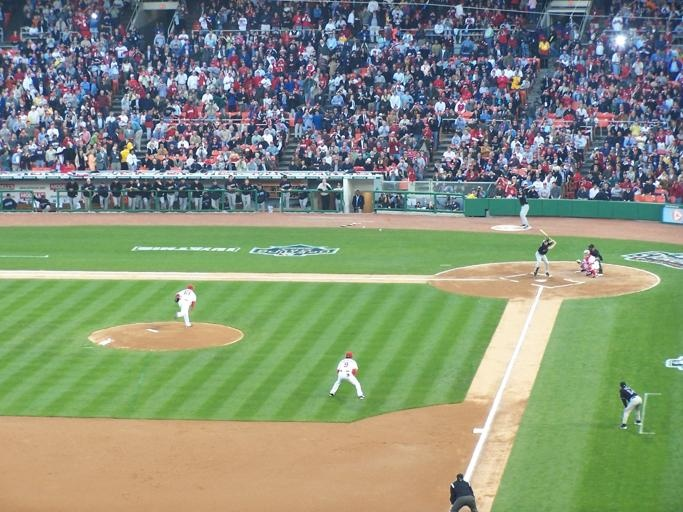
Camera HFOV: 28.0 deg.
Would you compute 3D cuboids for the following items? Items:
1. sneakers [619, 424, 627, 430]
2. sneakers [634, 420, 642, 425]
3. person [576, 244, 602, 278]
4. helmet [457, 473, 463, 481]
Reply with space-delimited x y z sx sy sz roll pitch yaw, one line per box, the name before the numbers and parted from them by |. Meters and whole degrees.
sneakers | 9.263 5.607 45.120 0.282 0.183 0.102 5 17 19
sneakers | 9.781 5.500 45.358 0.152 0.194 0.434 -3 -2 -5
person | 10.746 0.033 58.240 0.932 1.334 1.831 10 13 42
helmet | 3.482 6.450 40.058 0.152 0.206 0.207 3 13 0
